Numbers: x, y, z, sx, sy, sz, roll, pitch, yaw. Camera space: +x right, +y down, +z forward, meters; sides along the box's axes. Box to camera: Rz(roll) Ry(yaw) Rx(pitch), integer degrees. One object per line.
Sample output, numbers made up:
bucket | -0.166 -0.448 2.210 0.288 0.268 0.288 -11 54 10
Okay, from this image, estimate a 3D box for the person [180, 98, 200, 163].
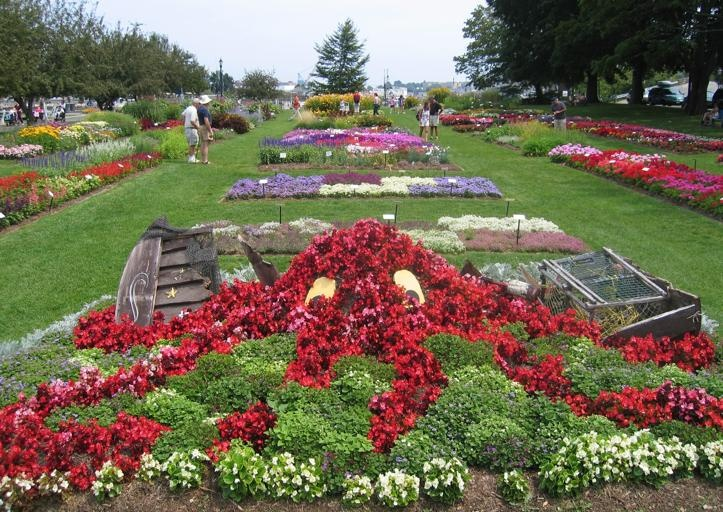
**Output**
person | -5.291 -3.897 18.977 0.455 2.033 0.966 -5 21 -16
